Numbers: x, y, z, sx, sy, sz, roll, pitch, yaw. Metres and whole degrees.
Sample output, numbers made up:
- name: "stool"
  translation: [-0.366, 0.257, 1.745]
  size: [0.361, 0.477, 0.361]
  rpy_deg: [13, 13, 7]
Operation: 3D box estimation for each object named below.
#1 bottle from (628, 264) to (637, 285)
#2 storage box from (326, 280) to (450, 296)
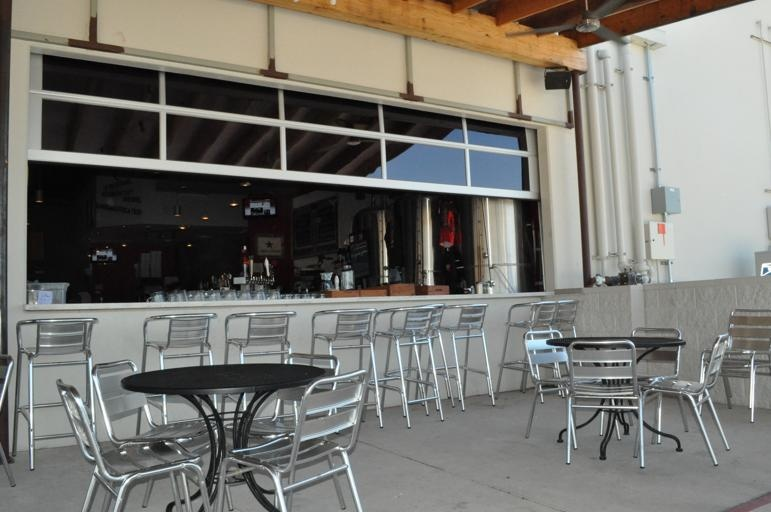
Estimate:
- name: "bottle"
  translation: [3.431, 0.262, 9.013]
  size: [0.122, 0.327, 0.558]
  rpy_deg: [-8, -11, 21]
- name: "storage box"
  translation: [0.083, 0.451, 8.373]
  size: [1.763, 0.210, 0.441]
  rpy_deg: [1, -11, -27]
